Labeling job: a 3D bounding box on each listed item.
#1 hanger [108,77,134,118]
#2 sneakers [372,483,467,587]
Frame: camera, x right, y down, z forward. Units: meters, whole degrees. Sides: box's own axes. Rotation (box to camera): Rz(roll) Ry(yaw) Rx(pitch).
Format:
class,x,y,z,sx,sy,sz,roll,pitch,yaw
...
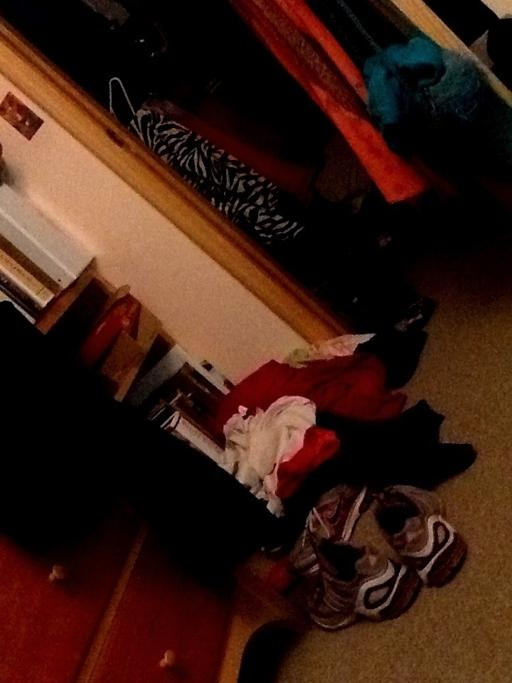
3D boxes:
class,x,y,z,sx,sy,sz,roll,pitch,yaw
hanger,-0.351,-0.635,1.659,0.069,0.081,0.070,9,9,8
sneakers,0.339,0.398,1.360,0.236,0.118,0.095,45,0,35
